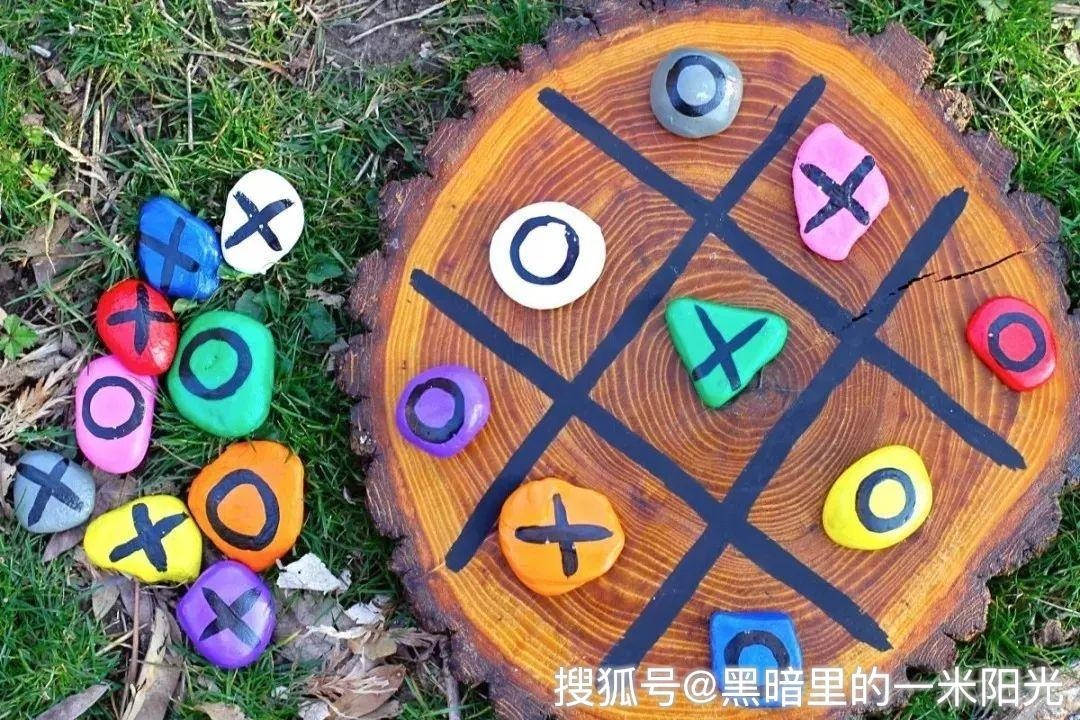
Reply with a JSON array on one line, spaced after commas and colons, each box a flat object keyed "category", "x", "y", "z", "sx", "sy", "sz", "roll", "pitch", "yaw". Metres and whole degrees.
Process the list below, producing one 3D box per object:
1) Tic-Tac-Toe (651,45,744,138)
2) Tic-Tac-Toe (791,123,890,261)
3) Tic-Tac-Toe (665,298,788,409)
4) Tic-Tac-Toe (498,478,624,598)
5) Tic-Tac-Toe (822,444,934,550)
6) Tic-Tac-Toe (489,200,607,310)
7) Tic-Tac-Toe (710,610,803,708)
[{"category": "Tic-Tac-Toe", "x": 0.676, "y": -1.141, "z": 5.500, "sx": 0.390, "sy": 0.124, "sz": 0.363, "roll": 5, "pitch": 87, "yaw": 5}, {"category": "Tic-Tac-Toe", "x": 1.261, "y": -0.723, "z": 5.522, "sx": 0.457, "sy": 0.068, "sz": 0.460, "roll": 45, "pitch": 91, "yaw": 5}, {"category": "Tic-Tac-Toe", "x": 0.808, "y": -0.117, "z": 5.462, "sx": 0.467, "sy": 0.055, "sz": 0.476, "roll": -29, "pitch": 85, "yaw": 2}, {"category": "Tic-Tac-Toe", "x": 0.087, "y": 0.733, "z": 5.443, "sx": 0.502, "sy": 0.094, "sz": 0.469, "roll": -22, "pitch": 86, "yaw": 3}, {"category": "Tic-Tac-Toe", "x": 1.431, "y": 0.604, "z": 5.442, "sx": 0.487, "sy": 0.133, "sz": 0.383, "roll": -21, "pitch": 86, "yaw": 3}, {"category": "Tic-Tac-Toe", "x": 0.035, "y": -0.449, "z": 5.511, "sx": 0.493, "sy": 0.077, "sz": 0.450, "roll": -15, "pitch": 86, "yaw": 3}, {"category": "Tic-Tac-Toe", "x": 0.919, "y": 1.277, "z": 5.427, "sx": 0.374, "sy": 0.068, "sz": 0.390, "roll": 0, "pitch": 87, "yaw": 4}]
